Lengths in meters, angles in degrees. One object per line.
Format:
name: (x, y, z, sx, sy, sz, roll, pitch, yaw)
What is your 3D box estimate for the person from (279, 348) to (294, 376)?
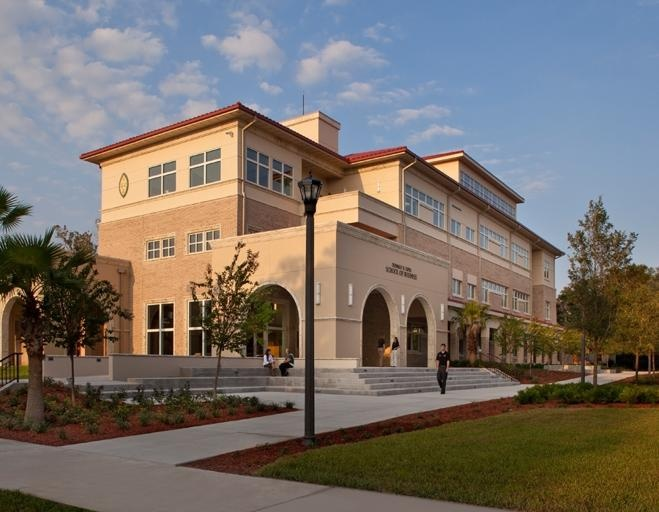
person: (-1.910, 4.847, 30.218, 0.637, 1.289, 1.700, 1, -14, -3)

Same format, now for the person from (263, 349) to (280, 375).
person: (-2.722, 4.941, 31.060, 0.658, 1.387, 2.352, 2, -14, -5)
